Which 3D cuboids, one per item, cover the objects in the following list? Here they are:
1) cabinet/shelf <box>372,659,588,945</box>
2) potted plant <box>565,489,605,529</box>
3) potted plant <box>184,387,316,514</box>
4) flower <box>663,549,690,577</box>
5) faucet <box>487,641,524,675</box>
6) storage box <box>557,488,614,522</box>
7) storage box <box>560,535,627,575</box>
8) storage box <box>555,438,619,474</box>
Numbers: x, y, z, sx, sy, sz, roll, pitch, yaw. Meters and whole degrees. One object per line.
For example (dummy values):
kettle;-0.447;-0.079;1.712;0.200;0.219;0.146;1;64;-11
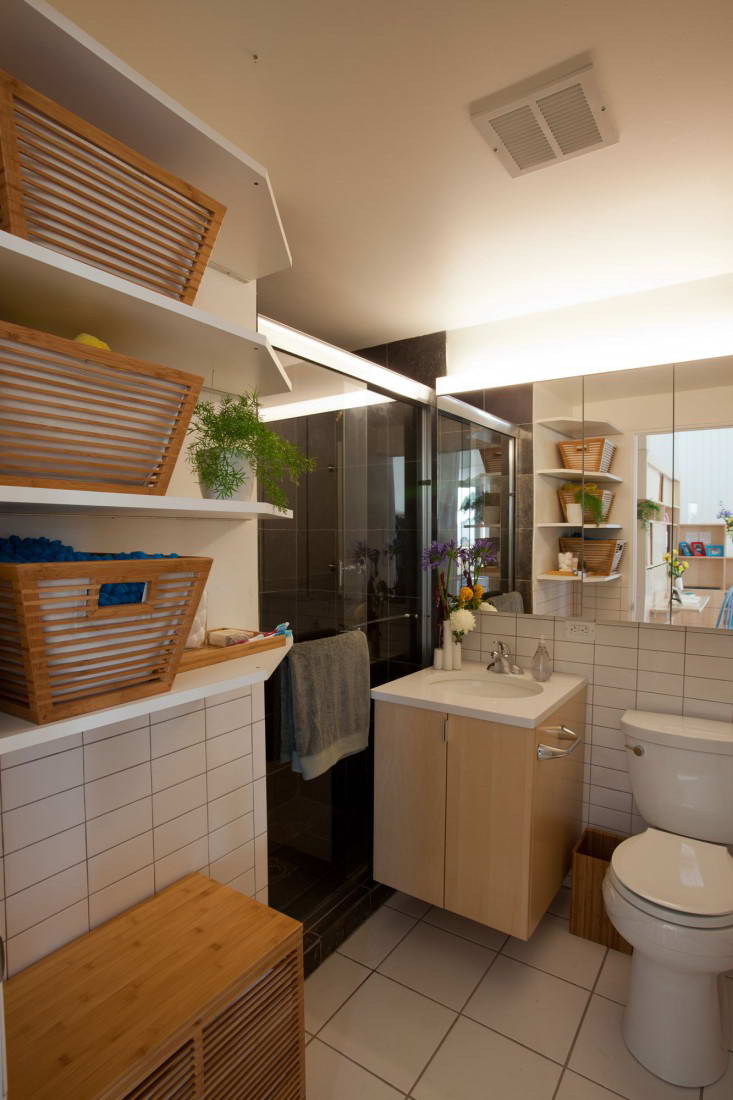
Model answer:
cabinet/shelf;0.389;0.770;2.521;0.613;0.651;0.680;2;4;35
potted plant;0.788;-0.150;2.642;0.126;0.115;0.112;3;-10;8
potted plant;-0.250;-0.182;1.449;0.225;0.227;0.243;3;-3;24
flower;1.011;0.047;2.421;0.022;0.068;0.062;-5;10;-37
faucet;0.518;0.414;2.738;0.173;0.149;0.088;-6;-7;40
storage box;0.785;-0.165;2.639;0.139;0.114;0.115;-3;-9;38
storage box;0.801;0.021;2.616;0.143;0.093;0.110;-1;-5;40
storage box;0.781;-0.328;2.635;0.130;0.098;0.103;-1;-4;35
